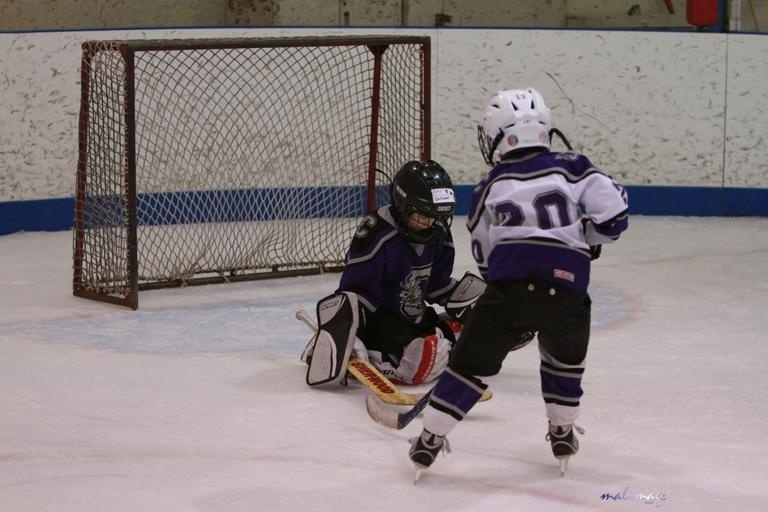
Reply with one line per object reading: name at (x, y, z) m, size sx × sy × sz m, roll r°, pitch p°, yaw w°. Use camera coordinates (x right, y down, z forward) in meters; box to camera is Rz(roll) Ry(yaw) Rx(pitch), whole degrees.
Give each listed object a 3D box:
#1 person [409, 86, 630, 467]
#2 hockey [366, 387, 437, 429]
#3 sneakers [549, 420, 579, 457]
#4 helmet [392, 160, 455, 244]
person at (0.619, 0.111, 4.072) m, size 0.891 × 1.711 × 0.454 m, roll 3°, pitch 8°, yaw 6°
hockey at (0.057, 0.729, 4.421) m, size 0.198 × 0.093 × 0.338 m, roll 18°, pitch 14°, yaw 13°
sneakers at (0.793, 0.826, 4.046) m, size 0.082 × 0.086 × 0.210 m, roll -1°, pitch 5°, yaw 12°
helmet at (0.185, -0.295, 4.655) m, size 0.332 × 0.360 × 0.389 m, roll -10°, pitch 24°, yaw -32°
